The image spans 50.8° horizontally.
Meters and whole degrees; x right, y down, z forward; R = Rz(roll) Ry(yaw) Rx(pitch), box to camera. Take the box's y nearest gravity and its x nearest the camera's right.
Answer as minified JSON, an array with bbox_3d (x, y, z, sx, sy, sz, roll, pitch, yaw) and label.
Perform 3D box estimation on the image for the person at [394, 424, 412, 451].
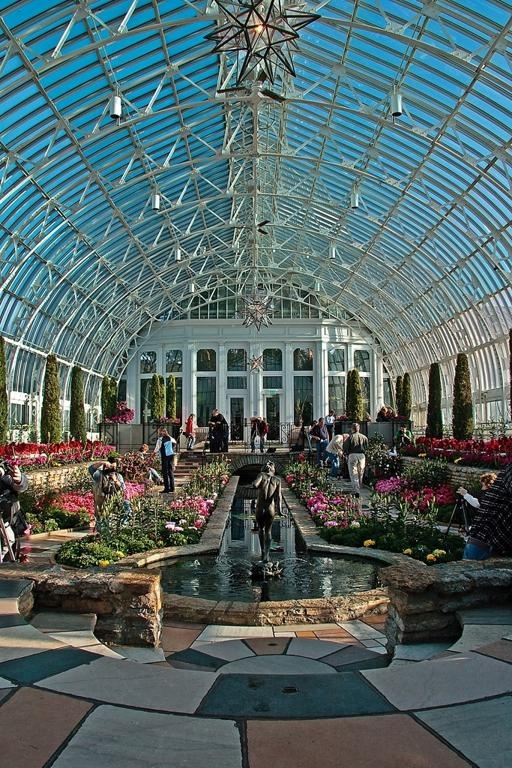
[{"bbox_3d":[6.298,2.271,23.235,0.668,1.014,2.314,-3,-4,15],"label":"person"}]

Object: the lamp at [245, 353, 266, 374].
[{"bbox_3d":[-0.126,-1.559,40.178,1.186,0.532,1.210,31,54,27],"label":"lamp"}]

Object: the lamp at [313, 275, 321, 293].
[{"bbox_3d":[4.540,-7.093,40.271,0.625,0.971,1.373,-2,-4,7],"label":"lamp"}]

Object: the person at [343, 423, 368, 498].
[{"bbox_3d":[2.779,2.115,15.161,0.600,1.994,1.579,-2,-4,10],"label":"person"}]
